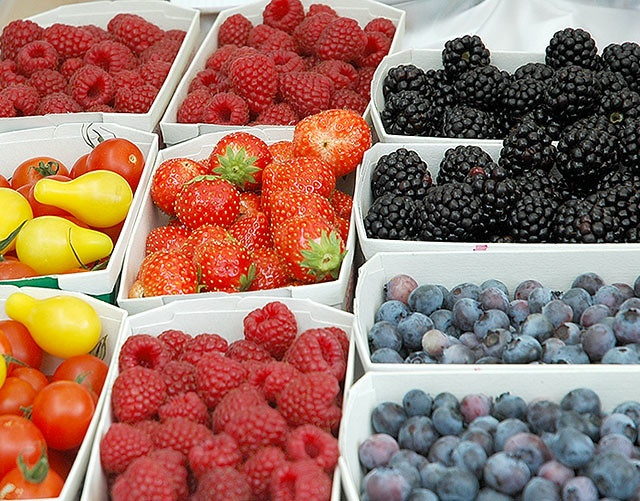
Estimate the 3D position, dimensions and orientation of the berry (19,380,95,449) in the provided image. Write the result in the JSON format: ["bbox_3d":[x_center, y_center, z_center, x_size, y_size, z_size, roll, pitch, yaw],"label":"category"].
[{"bbox_3d":[-0.708,0.447,1.678,0.174,0.164,0.186,12,50,-53],"label":"berry"}]
